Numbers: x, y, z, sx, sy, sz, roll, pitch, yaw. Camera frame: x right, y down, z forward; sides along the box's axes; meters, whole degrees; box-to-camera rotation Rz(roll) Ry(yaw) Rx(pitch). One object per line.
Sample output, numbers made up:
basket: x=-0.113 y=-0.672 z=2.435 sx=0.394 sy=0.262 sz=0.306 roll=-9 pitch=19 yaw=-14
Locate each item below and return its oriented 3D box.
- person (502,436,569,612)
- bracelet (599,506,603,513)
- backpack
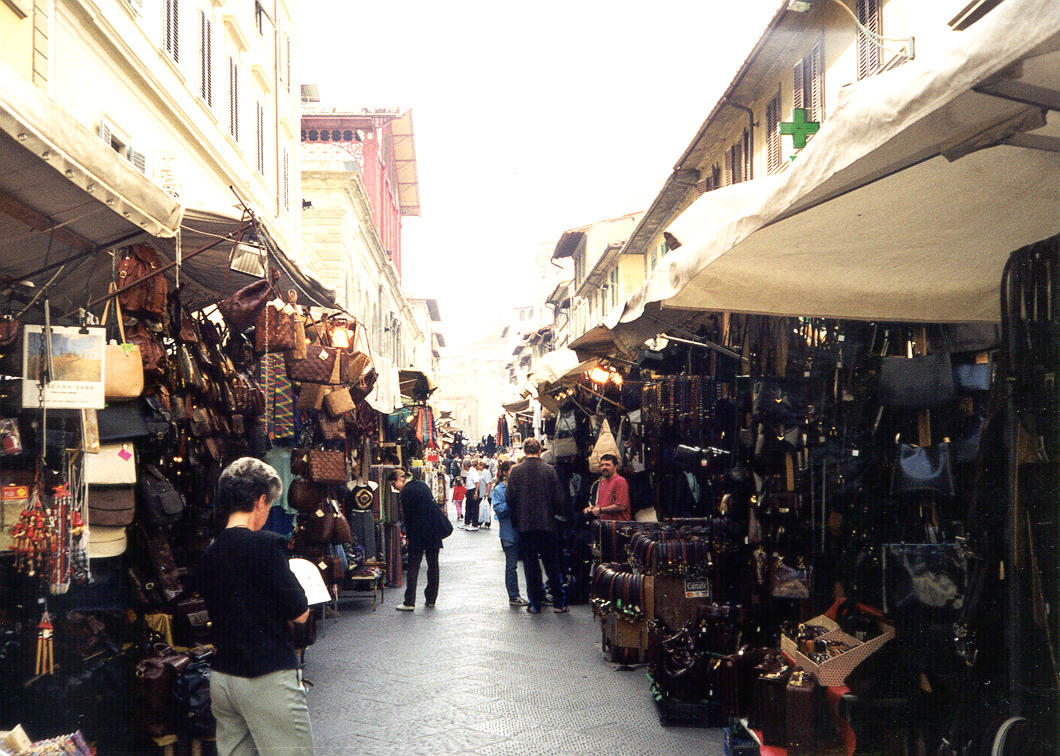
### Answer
person: x=0.095 y=1.872 z=12.285 sx=0.649 sy=2.165 sz=0.815 roll=-2 pitch=-4 yaw=31
bracelet: x=0.792 y=1.506 z=10.944 sx=0.041 sy=0.064 sz=0.016 roll=-6 pitch=-8 yaw=38
backpack: x=1.141 y=2.227 z=7.213 sx=0.431 sy=0.516 sz=0.714 roll=0 pitch=-6 yaw=-1
